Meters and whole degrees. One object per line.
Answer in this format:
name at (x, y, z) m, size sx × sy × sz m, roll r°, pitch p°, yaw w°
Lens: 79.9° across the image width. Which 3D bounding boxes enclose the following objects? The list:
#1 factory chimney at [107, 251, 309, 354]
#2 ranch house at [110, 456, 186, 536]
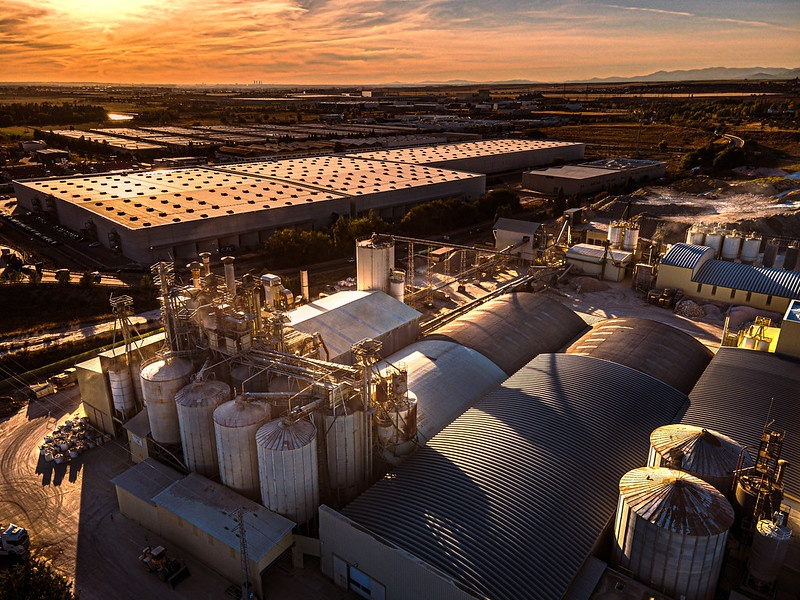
factory chimney at (-14.684, 0.334, 36.987) m, size 14.308 × 6.502 × 8.469 m, roll 11°, pitch 17°, yaw 36°
ranch house at (-17.575, 14.143, 33.965) m, size 4.591 × 2.528 × 4.478 m, roll 19°, pitch 36°, yaw 29°
